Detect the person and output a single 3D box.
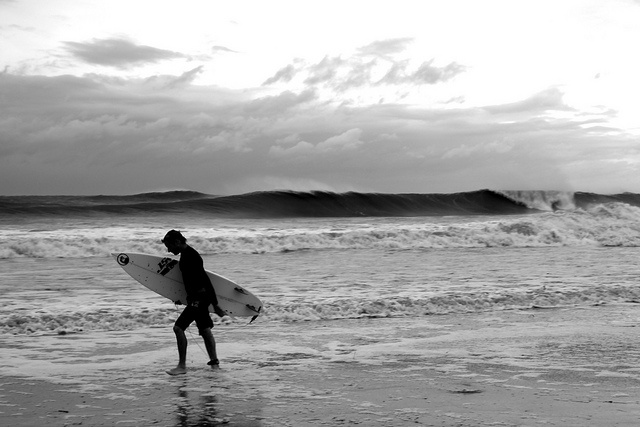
[{"bbox_3d":[-1.607,1.051,7.365,0.678,1.582,0.620,-7,-1,-6],"label":"person"}]
